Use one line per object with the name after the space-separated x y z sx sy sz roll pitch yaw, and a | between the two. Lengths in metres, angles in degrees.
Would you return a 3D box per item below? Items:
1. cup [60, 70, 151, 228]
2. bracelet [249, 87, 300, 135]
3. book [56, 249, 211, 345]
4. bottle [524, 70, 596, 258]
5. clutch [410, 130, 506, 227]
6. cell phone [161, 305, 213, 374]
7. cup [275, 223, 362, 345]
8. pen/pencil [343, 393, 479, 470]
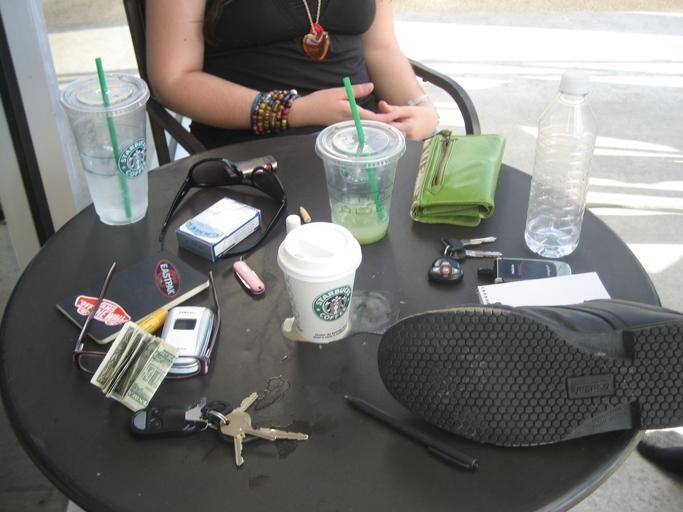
-0.428 -0.202 1.148 0.131 0.320 0.149 -14 36 -22 | cup
-0.176 -0.371 1.532 0.118 0.105 0.105 21 34 30 | bracelet
-0.349 0.065 1.025 0.171 0.022 0.229 23 41 34 | book
0.437 -0.178 1.168 0.090 0.333 0.096 4 11 -1 | bottle
0.239 -0.190 1.198 0.164 0.074 0.224 3 53 12 | clutch
-0.246 0.118 0.928 0.060 0.029 0.109 -2 48 -4 | cell phone
-0.035 0.049 0.964 0.132 0.166 0.144 -2 29 1 | cup
0.104 0.254 0.844 0.183 0.028 0.019 26 57 12 | pen/pencil
